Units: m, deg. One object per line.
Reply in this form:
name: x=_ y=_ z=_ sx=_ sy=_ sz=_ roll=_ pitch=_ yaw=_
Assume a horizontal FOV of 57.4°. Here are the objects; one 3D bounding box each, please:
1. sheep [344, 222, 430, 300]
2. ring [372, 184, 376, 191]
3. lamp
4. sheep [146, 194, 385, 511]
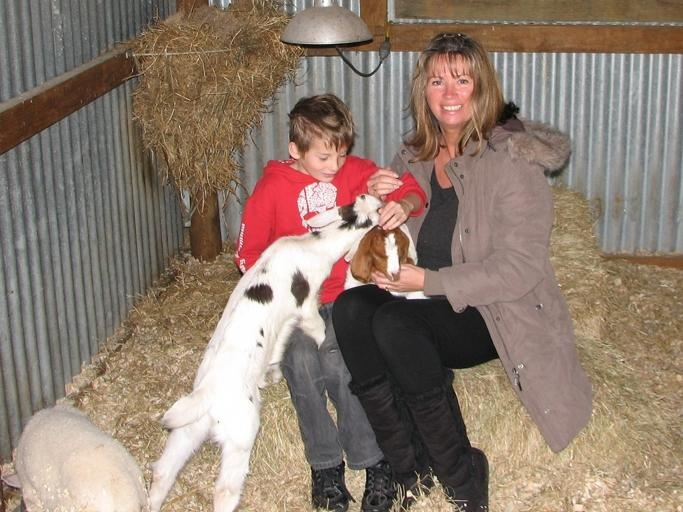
sheep: x=0.257 y=0.048 z=3.585 sx=0.369 sy=0.416 sz=0.493 roll=-8 pitch=50 yaw=-5
ring: x=0.200 y=-0.439 z=3.928 sx=0.036 sy=0.039 sz=0.012 roll=-9 pitch=-19 yaw=43
lamp: x=-0.022 y=-1.656 z=4.681 sx=0.860 sy=0.621 sz=0.590 roll=-8 pitch=18 yaw=-34
sheep: x=-0.452 y=0.651 z=3.812 sx=0.462 sy=0.769 sz=1.859 roll=21 pitch=71 yaw=40
